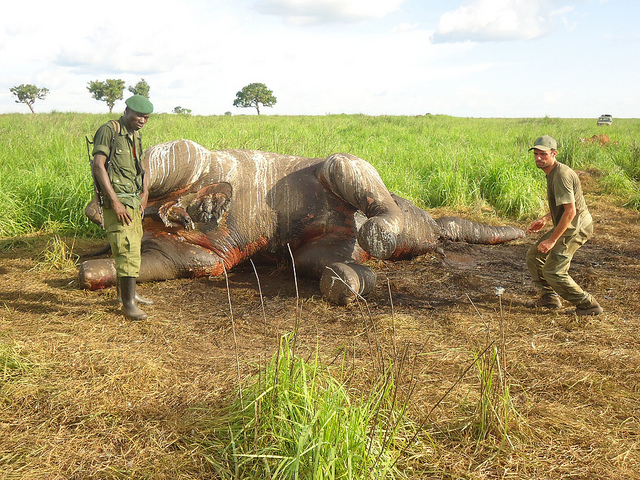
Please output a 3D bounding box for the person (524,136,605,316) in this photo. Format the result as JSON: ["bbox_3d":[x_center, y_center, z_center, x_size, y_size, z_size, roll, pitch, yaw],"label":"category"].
[{"bbox_3d":[2.438,-0.139,5.072,0.790,1.690,0.559,6,15,23],"label":"person"}]

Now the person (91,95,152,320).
[{"bbox_3d":[-1.743,-0.317,4.831,0.644,2.000,0.541,11,18,39],"label":"person"}]

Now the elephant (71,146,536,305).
[{"bbox_3d":[-0.235,-0.232,5.844,4.091,1.117,2.480,2,4,-14],"label":"elephant"}]

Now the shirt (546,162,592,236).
[{"bbox_3d":[2.475,-0.410,5.131,0.444,0.688,0.458,2,14,7],"label":"shirt"}]

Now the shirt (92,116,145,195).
[{"bbox_3d":[-1.860,-0.787,4.842,0.256,0.705,0.589,6,15,24],"label":"shirt"}]
